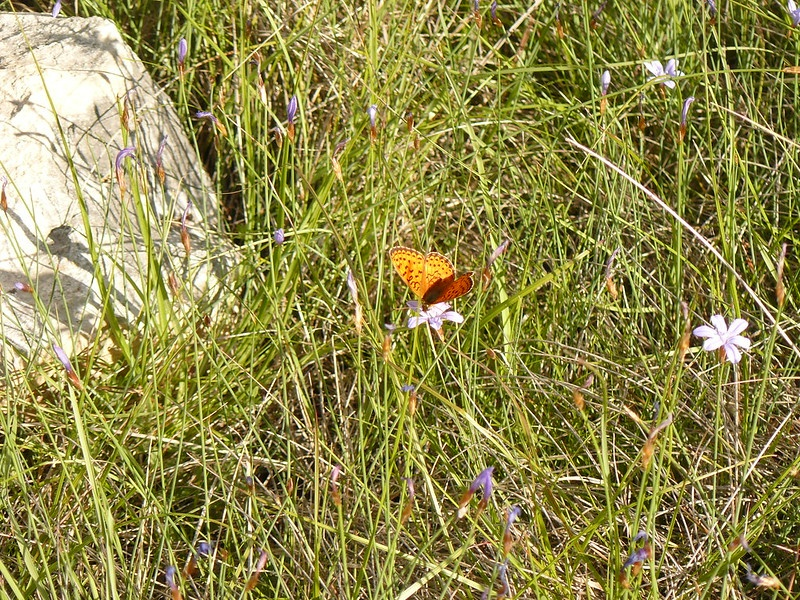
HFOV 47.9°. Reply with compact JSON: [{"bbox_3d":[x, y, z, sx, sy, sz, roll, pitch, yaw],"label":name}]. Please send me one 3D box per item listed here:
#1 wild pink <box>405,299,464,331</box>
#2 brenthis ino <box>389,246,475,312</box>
[{"bbox_3d":[0.095,0.048,2.699,0.108,0.051,0.108,-9,26,-39],"label":"wild pink"},{"bbox_3d":[0.102,-0.091,2.786,0.245,0.210,0.174,-8,51,11],"label":"brenthis ino"}]
